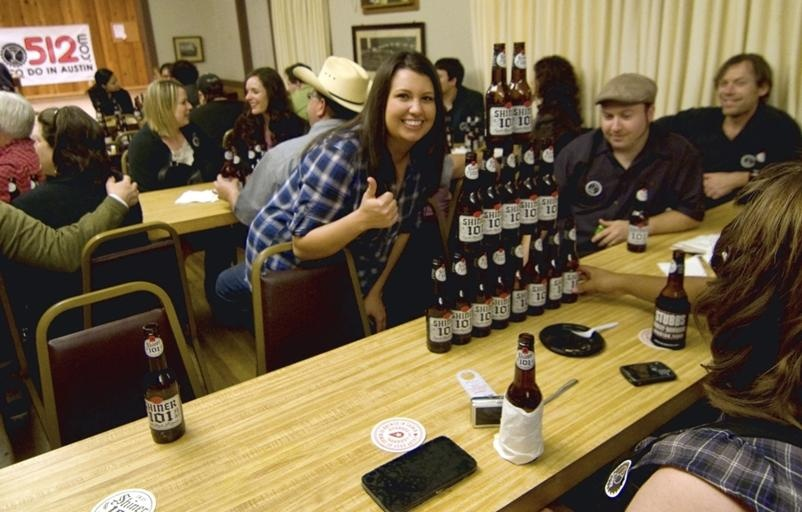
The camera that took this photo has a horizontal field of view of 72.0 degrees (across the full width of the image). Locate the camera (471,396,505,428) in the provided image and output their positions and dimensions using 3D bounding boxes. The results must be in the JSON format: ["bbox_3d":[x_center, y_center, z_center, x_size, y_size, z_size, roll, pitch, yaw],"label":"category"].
[{"bbox_3d":[0.289,0.515,1.815,0.123,0.098,0.039,1,14,-1],"label":"camera"}]

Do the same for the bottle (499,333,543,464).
[{"bbox_3d":[0.383,0.432,1.706,0.168,0.423,0.125,-12,24,-22],"label":"bottle"}]

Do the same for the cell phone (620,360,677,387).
[{"bbox_3d":[0.887,0.418,2.005,0.147,0.141,0.085,-3,32,-6],"label":"cell phone"}]

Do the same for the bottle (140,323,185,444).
[{"bbox_3d":[-0.785,0.416,1.790,0.114,0.382,0.124,-3,22,1],"label":"bottle"}]

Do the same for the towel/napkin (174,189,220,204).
[{"bbox_3d":[-1.404,-0.401,3.837,0.171,0.019,0.175,-11,27,-28],"label":"towel/napkin"}]

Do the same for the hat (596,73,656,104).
[{"bbox_3d":[1.288,-0.938,3.129,0.294,0.156,0.222,-10,23,-19],"label":"hat"}]
